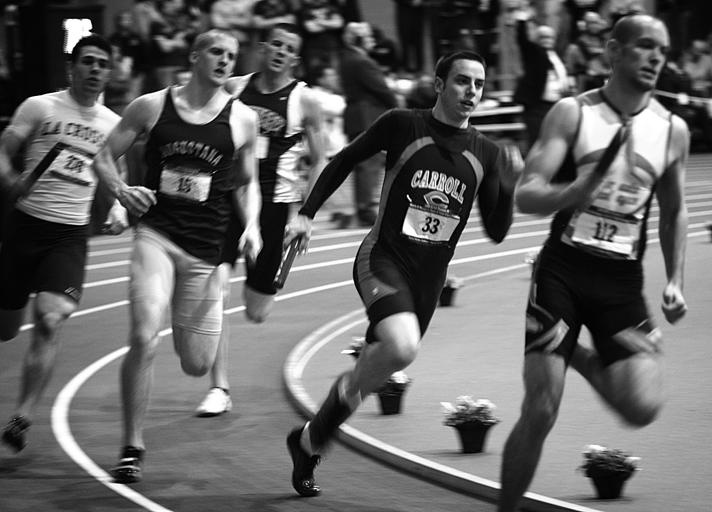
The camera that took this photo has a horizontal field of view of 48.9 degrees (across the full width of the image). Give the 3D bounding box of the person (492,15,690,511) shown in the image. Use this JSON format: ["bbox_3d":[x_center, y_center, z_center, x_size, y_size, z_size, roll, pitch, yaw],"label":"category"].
[{"bbox_3d":[1.148,0.003,3.637,1.256,2.228,0.582,-8,10,-29],"label":"person"}]

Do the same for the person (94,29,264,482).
[{"bbox_3d":[-1.094,-0.094,4.878,0.602,2.633,1.356,4,11,42],"label":"person"}]

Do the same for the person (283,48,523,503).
[{"bbox_3d":[0.256,0.097,4.282,1.328,2.403,0.771,-2,9,9],"label":"person"}]
